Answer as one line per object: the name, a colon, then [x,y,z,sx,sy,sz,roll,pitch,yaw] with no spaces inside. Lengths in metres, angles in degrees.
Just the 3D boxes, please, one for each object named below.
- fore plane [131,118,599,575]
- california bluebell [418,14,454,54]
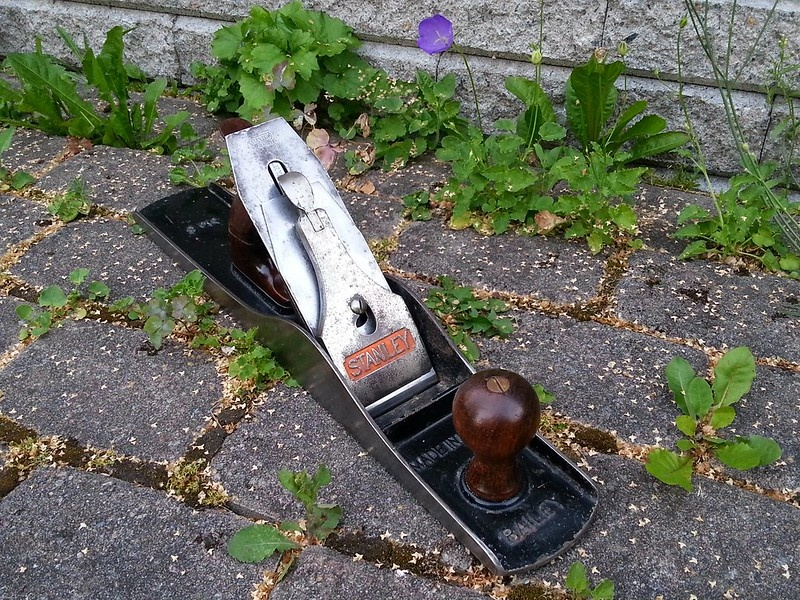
fore plane: [-0.117,0.209,2.727,0.435,0.661,1.932,-30,58,-22]
california bluebell: [0.178,-1.381,3.587,0.174,0.120,0.232,-2,57,6]
